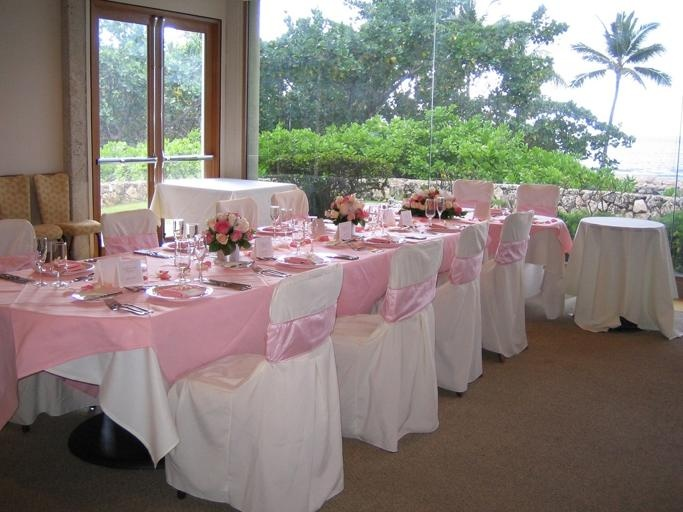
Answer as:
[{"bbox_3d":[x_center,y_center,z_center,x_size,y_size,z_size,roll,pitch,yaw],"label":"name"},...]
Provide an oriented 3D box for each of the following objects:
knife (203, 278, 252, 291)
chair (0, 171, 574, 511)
[{"bbox_3d":[-0.585,0.137,2.624,0.292,0.030,0.094,9,27,29],"label":"knife"},{"bbox_3d":[-0.329,0.538,2.799,2.551,1.142,1.084,-8,11,-36],"label":"chair"}]
